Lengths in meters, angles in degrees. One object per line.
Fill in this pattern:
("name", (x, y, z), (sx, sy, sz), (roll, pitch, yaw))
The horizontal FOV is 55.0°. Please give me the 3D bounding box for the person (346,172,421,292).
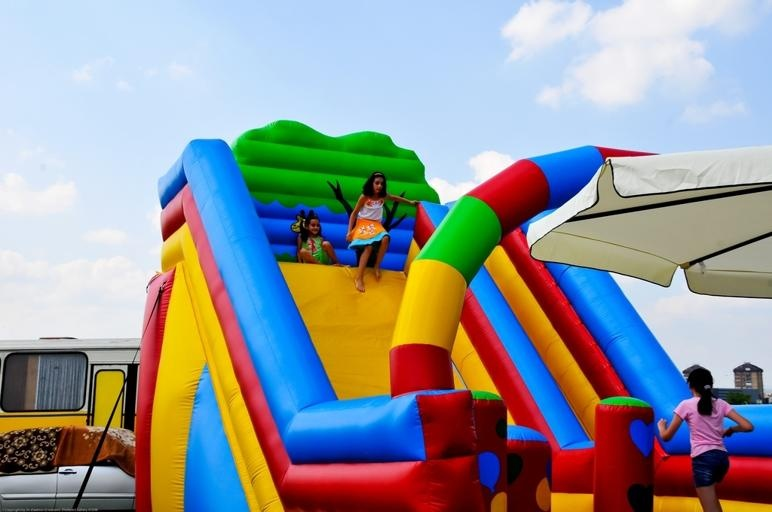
("person", (-0.115, -0.186, 6.356), (0.490, 1.006, 0.321), (-13, -22, 19))
